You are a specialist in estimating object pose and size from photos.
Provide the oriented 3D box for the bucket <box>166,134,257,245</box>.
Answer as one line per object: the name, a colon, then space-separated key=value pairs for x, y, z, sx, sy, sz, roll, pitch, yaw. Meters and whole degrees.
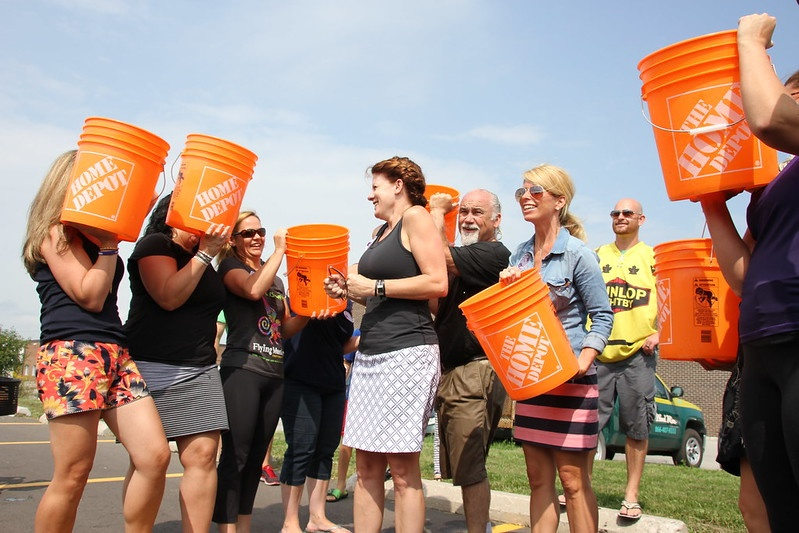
bucket: x=-1.283 y=-0.532 z=4.144 sx=0.490 sy=0.573 sz=0.496 roll=15 pitch=-4 yaw=1

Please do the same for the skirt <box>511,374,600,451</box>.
skirt: x=1.046 y=0.964 z=4.002 sx=0.489 sy=0.478 sz=0.280 roll=-9 pitch=-25 yaw=33

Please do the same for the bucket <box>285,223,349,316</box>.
bucket: x=-0.691 y=0.064 z=4.888 sx=0.584 sy=0.662 sz=0.561 roll=-3 pitch=3 yaw=0

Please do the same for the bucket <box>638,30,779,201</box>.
bucket: x=1.644 y=-0.764 z=3.190 sx=0.621 sy=0.755 sz=0.691 roll=-9 pitch=4 yaw=33

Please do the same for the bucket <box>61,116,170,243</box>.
bucket: x=-1.823 y=-0.518 z=3.870 sx=0.576 sy=0.642 sz=0.569 roll=11 pitch=-10 yaw=2

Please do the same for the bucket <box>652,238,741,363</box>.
bucket: x=1.778 y=0.206 z=3.570 sx=0.408 sy=0.675 sz=0.650 roll=0 pitch=-12 yaw=5

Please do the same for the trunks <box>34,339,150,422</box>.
trunks: x=-1.895 y=0.706 z=3.758 sx=0.359 sy=0.419 sz=0.634 roll=-24 pitch=-19 yaw=29

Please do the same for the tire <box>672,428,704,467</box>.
tire: x=5.169 y=3.256 z=10.868 sx=0.790 sy=0.800 sz=0.275 roll=3 pitch=-14 yaw=-38

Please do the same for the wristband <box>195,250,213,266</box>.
wristband: x=-1.304 y=-0.056 z=4.025 sx=0.072 sy=0.051 sz=0.067 roll=34 pitch=-12 yaw=-1

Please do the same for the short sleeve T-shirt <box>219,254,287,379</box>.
short sleeve T-shirt: x=-1.116 y=0.381 z=4.545 sx=0.427 sy=0.945 sz=0.632 roll=-19 pitch=-28 yaw=27

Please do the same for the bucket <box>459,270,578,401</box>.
bucket: x=0.799 y=0.450 z=4.003 sx=0.635 sy=0.736 sz=0.672 roll=-25 pitch=-1 yaw=-1

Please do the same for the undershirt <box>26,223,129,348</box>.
undershirt: x=-1.939 y=0.095 z=3.609 sx=0.494 sy=0.817 sz=0.617 roll=6 pitch=-12 yaw=-41

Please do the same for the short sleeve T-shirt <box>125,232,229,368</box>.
short sleeve T-shirt: x=-1.618 y=0.265 z=4.431 sx=0.612 sy=0.936 sz=0.888 roll=1 pitch=-6 yaw=8

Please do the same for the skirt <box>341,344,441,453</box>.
skirt: x=0.012 y=0.889 z=4.164 sx=0.451 sy=0.705 sz=0.741 roll=15 pitch=-23 yaw=-29
